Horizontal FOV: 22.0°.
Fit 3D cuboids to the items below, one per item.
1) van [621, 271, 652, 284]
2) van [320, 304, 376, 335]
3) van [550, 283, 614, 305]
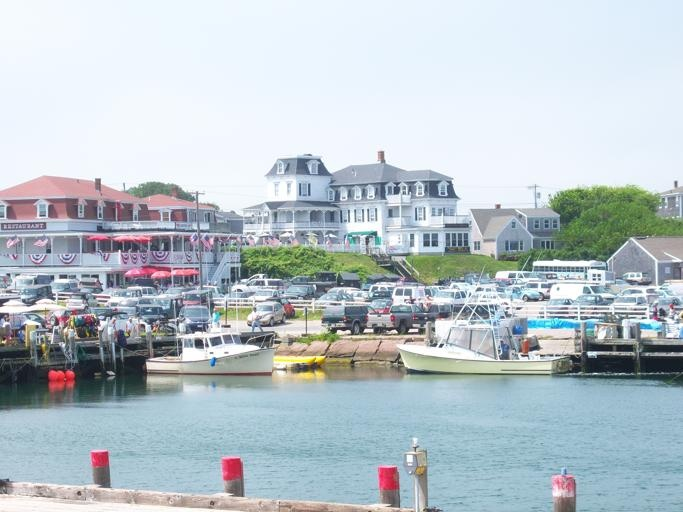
[{"bbox_3d":[26.668,2.210,156.696,2.278,1.167,3.536,-2,-3,9],"label":"van"},{"bbox_3d":[0.294,4.365,118.034,1.783,1.057,3.035,1,4,35],"label":"van"},{"bbox_3d":[18.390,3.174,133.889,3.694,1.576,1.896,-1,3,20],"label":"van"}]
